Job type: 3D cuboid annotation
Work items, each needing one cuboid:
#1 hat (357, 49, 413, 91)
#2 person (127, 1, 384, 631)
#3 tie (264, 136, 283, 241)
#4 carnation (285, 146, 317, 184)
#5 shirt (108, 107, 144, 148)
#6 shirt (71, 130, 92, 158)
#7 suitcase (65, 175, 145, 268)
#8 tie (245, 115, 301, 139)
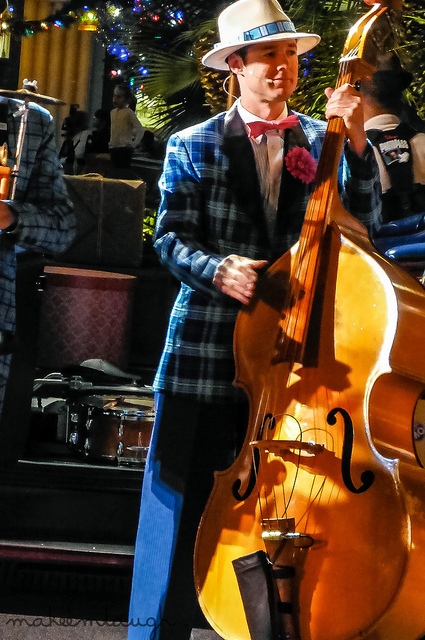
[{"bbox_3d":[0.740,-1.133,2.543,0.165,0.116,0.270,9,33,-16],"label":"hat"},{"bbox_3d":[0.077,0.038,1.390,0.444,1.594,0.512,5,7,-19],"label":"person"},{"bbox_3d":[0.146,-0.328,1.399,0.033,0.274,0.041,1,-4,13],"label":"tie"},{"bbox_3d":[0.201,-0.353,1.362,0.081,0.079,0.022,-25,9,-26],"label":"carnation"},{"bbox_3d":[-1.282,-2.701,8.188,0.699,0.577,0.292,14,20,36],"label":"shirt"},{"bbox_3d":[-1.943,-2.580,8.541,0.222,0.493,0.612,5,6,-14],"label":"shirt"},{"bbox_3d":[-0.703,-0.715,4.307,0.617,0.589,0.606,3,5,-2],"label":"suitcase"},{"bbox_3d":[0.141,-0.453,1.383,0.113,0.059,0.130,7,6,5],"label":"tie"}]
